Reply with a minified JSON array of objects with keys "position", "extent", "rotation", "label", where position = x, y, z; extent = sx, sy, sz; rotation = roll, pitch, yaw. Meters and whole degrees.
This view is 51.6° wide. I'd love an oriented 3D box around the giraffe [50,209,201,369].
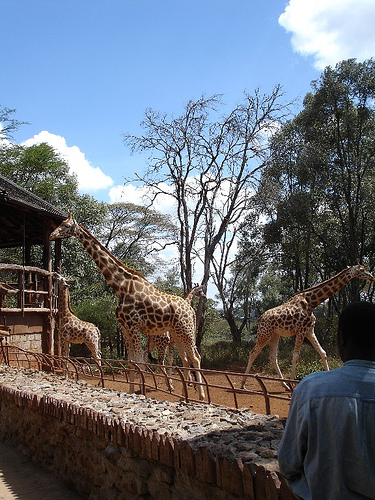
[{"position":[-1.048,0.837,7.481],"extent":[2.575,2.817,1.190],"rotation":[2,-5,1],"label":"giraffe"}]
